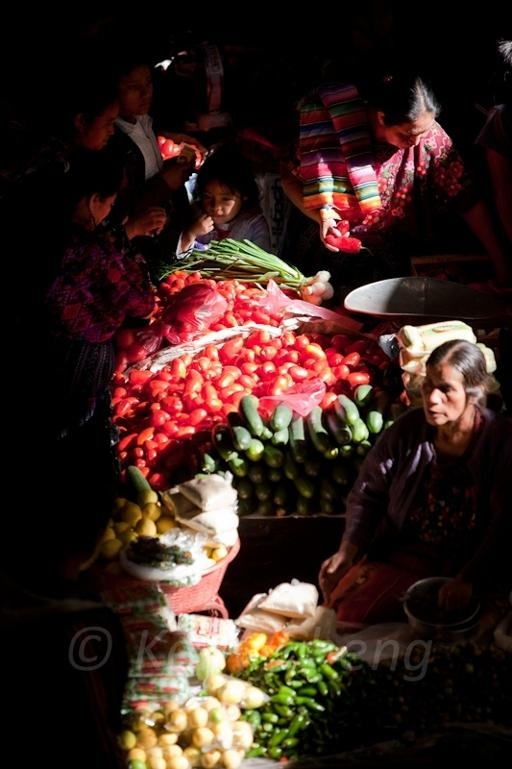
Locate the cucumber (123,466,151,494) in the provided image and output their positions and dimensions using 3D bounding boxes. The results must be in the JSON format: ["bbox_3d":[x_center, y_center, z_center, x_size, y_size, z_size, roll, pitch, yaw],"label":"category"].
[{"bbox_3d":[-0.458,0.368,2.472,0.131,0.057,0.062,49,41,8],"label":"cucumber"}]

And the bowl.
[{"bbox_3d":[-0.164,0.811,2.460,0.338,0.319,0.081,-30,47,-19],"label":"bowl"}]

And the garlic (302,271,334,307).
[{"bbox_3d":[0.243,-0.378,2.459,0.128,0.121,0.052,35,29,7],"label":"garlic"}]
